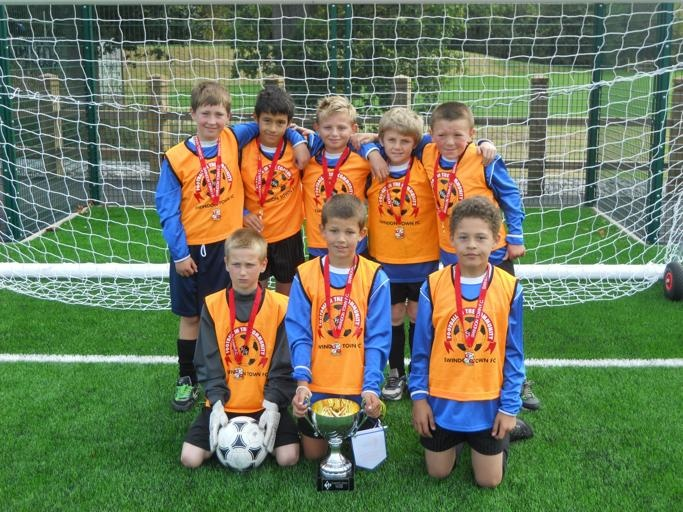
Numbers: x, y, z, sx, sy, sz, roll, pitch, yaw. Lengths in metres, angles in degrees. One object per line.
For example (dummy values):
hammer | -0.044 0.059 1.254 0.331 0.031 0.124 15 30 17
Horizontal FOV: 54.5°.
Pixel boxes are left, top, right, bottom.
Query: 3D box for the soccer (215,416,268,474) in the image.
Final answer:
soccer | -0.589 1.120 3.924 0.273 0.304 0.290 0 -14 -4

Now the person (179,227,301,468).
person | -0.601 0.619 4.119 0.575 1.528 0.666 0 12 -3

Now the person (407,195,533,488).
person | 0.753 0.511 4.150 0.767 1.752 0.658 1 9 4

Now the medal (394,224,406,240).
medal | 0.409 -0.172 4.679 0.087 0.161 0.018 4 17 15

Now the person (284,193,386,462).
person | -0.044 0.427 4.184 0.529 1.641 0.626 0 12 -1

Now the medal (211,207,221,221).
medal | -0.889 -0.296 4.652 0.078 0.111 0.018 3 16 1

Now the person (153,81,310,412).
person | -0.837 -0.075 4.919 1.131 2.287 0.445 -6 9 -39
